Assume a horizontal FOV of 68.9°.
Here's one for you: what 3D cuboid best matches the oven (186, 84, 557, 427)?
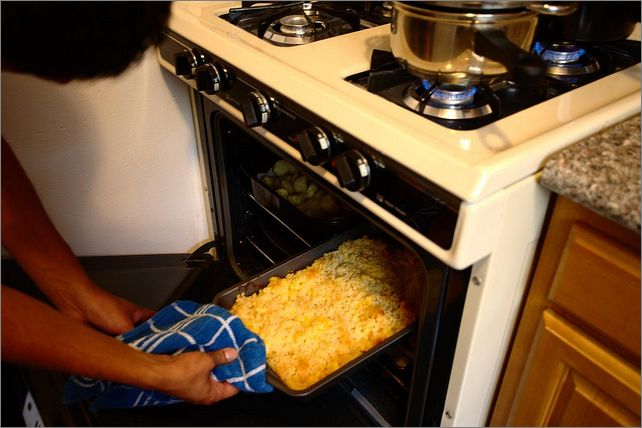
[{"bbox_3d":[0.129,0.120,1.081,0.343,0.668,0.662,-18,43,-29],"label":"oven"}]

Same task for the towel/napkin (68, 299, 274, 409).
[{"bbox_3d":[-0.375,0.428,1.175,0.389,0.108,0.322,-15,39,-21],"label":"towel/napkin"}]
